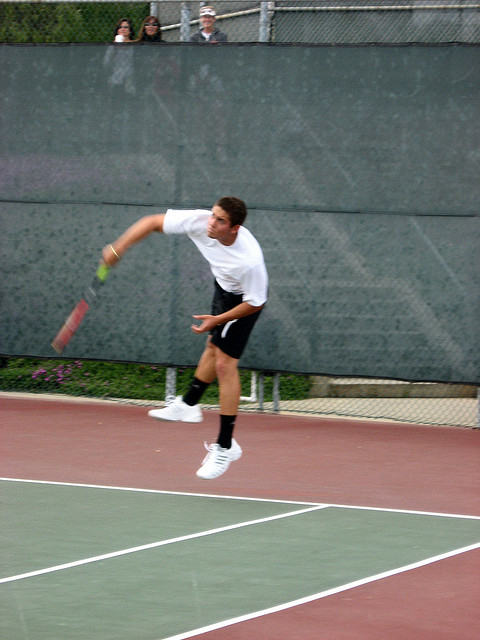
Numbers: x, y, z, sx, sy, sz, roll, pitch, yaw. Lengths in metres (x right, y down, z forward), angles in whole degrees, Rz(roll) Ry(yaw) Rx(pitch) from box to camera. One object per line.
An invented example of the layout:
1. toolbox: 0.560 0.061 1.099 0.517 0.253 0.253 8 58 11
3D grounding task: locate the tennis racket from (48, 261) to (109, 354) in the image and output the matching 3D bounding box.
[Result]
1. tennis racket: -0.924 -0.078 4.693 0.162 0.581 0.579 -2 12 -25

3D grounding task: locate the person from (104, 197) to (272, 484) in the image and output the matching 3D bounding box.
1. person: -0.320 0.007 4.679 1.037 1.552 0.881 20 23 25

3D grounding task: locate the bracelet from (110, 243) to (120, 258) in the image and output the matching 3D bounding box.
1. bracelet: -0.672 -0.369 4.354 0.019 0.072 0.077 -40 21 1
